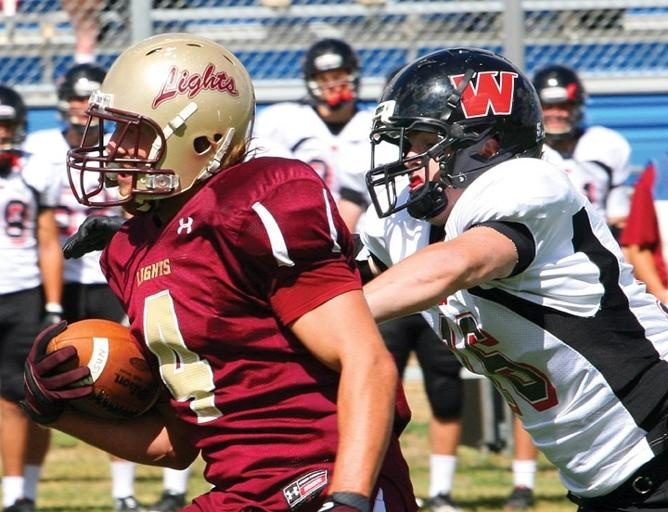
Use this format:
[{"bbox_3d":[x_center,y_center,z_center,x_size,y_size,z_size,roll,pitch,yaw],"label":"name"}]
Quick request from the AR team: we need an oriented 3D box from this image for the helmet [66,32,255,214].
[{"bbox_3d":[-0.539,-0.470,3.665,0.752,0.470,0.475,-6,16,-6],"label":"helmet"}]
